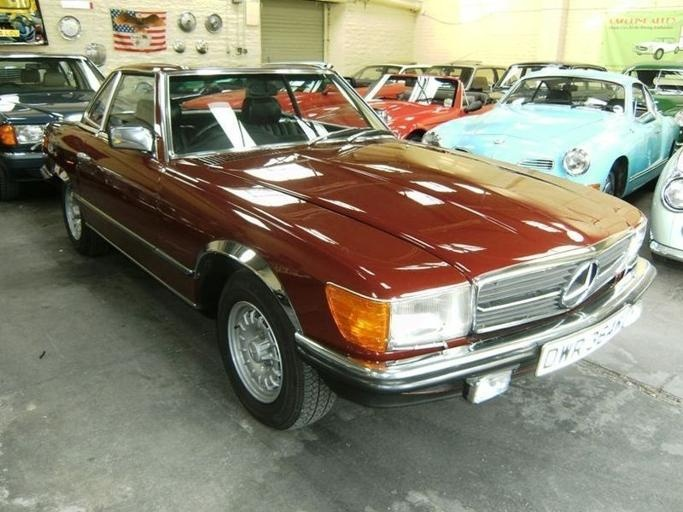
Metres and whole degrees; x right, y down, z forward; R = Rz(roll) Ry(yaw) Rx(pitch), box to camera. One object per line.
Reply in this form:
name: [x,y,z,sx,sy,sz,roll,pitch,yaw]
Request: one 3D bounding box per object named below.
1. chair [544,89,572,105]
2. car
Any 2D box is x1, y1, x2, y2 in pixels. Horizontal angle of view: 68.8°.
chair: [2.736,-1.983,6.267,0.273,0.197,0.216,19,54,19]
car: [-0.618,-0.406,3.318,4.206,1.052,2.116,23,31,39]
